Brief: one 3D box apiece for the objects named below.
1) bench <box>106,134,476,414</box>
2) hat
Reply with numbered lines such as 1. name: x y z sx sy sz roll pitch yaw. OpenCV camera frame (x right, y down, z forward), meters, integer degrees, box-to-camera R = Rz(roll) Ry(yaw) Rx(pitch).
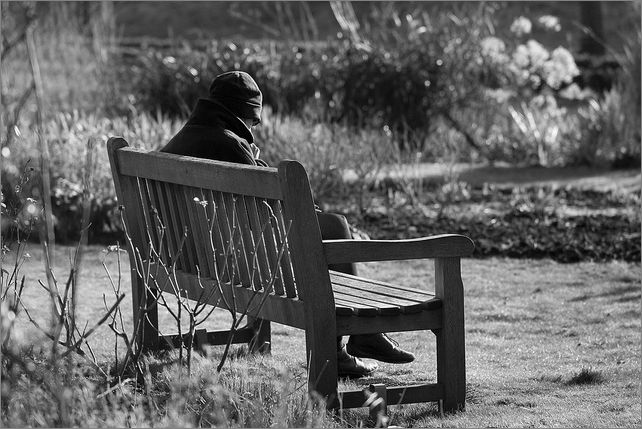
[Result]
1. bench: -0.409 0.493 9.467 1.817 2.360 3.442 -5 7 -34
2. hat: -0.778 -1.079 9.451 0.452 0.436 0.355 7 9 -21
